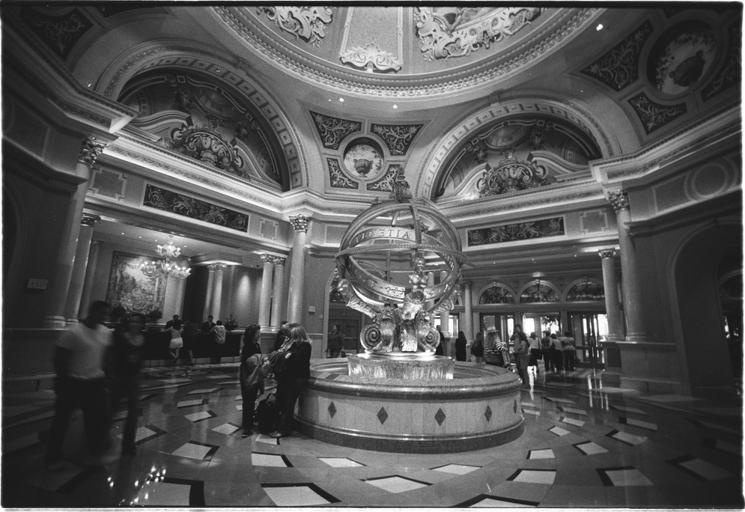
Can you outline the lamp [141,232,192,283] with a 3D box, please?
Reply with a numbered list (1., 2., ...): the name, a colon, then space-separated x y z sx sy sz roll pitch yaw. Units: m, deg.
1. lamp: -7.578 0.097 15.660 1.648 1.561 3.604 1 -1 -24
